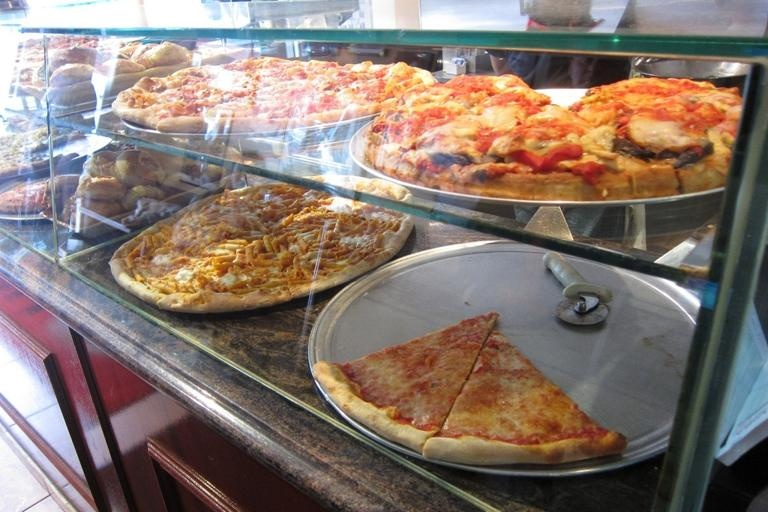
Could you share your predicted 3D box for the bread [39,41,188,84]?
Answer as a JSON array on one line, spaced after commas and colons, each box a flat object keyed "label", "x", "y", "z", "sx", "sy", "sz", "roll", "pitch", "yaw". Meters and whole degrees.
[{"label": "bread", "x": -0.717, "y": -0.518, "z": 1.414, "sx": 0.275, "sy": 0.046, "sz": 0.159, "roll": -7, "pitch": 21, "yaw": -3}]
